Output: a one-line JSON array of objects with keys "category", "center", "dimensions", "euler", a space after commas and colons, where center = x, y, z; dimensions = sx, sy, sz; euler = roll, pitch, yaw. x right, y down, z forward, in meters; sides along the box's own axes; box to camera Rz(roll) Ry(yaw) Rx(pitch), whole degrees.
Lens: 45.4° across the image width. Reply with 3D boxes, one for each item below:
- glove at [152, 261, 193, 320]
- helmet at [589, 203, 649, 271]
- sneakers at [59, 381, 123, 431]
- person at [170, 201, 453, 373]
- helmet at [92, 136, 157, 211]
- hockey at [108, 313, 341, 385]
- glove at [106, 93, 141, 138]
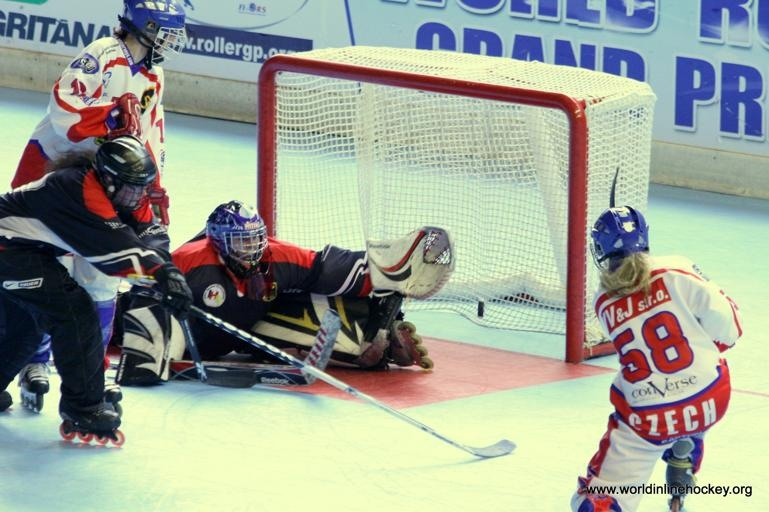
[{"category": "glove", "center": [-0.894, 0.145, 4.016], "dimensions": [0.108, 0.230, 0.138], "euler": [-37, 0, -31]}, {"category": "helmet", "center": [0.936, -0.089, 3.817], "dimensions": [0.241, 0.249, 0.268], "euler": [-3, 23, 1]}, {"category": "sneakers", "center": [-1.395, 0.689, 4.198], "dimensions": [0.437, 0.180, 0.137], "euler": [0, 16, 11]}, {"category": "person", "center": [-0.431, 0.127, 4.868], "dimensions": [1.295, 0.407, 0.927], "euler": [-5, 12, 24]}, {"category": "helmet", "center": [-1.128, -0.366, 4.014], "dimensions": [0.258, 0.326, 0.176], "euler": [3, 6, -17]}, {"category": "hockey", "center": [-0.667, 0.507, 4.832], "dimensions": [1.334, 0.444, 0.408], "euler": [7, -7, -1]}, {"category": "glove", "center": [-1.394, -0.712, 4.908], "dimensions": [0.207, 0.282, 0.123], "euler": [-1, -3, -35]}]
